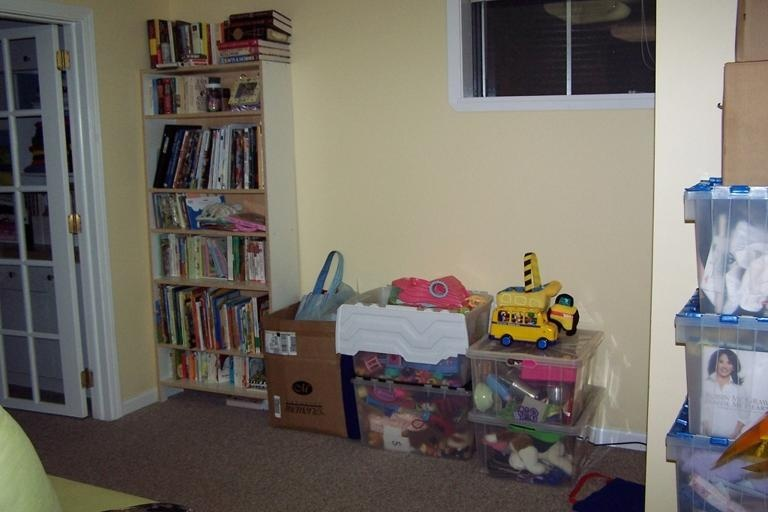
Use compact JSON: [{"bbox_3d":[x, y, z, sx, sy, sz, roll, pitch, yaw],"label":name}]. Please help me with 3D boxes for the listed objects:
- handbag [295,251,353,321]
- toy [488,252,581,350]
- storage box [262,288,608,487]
[{"bbox_3d":[-0.389,0.199,4.081,0.361,0.528,0.248,9,2,10],"label":"handbag"},{"bbox_3d":[0.880,0.248,3.622,0.549,0.595,0.429,0,7,18],"label":"toy"},{"bbox_3d":[0.235,0.743,3.629,1.926,0.918,0.317,3,10,20],"label":"storage box"}]
